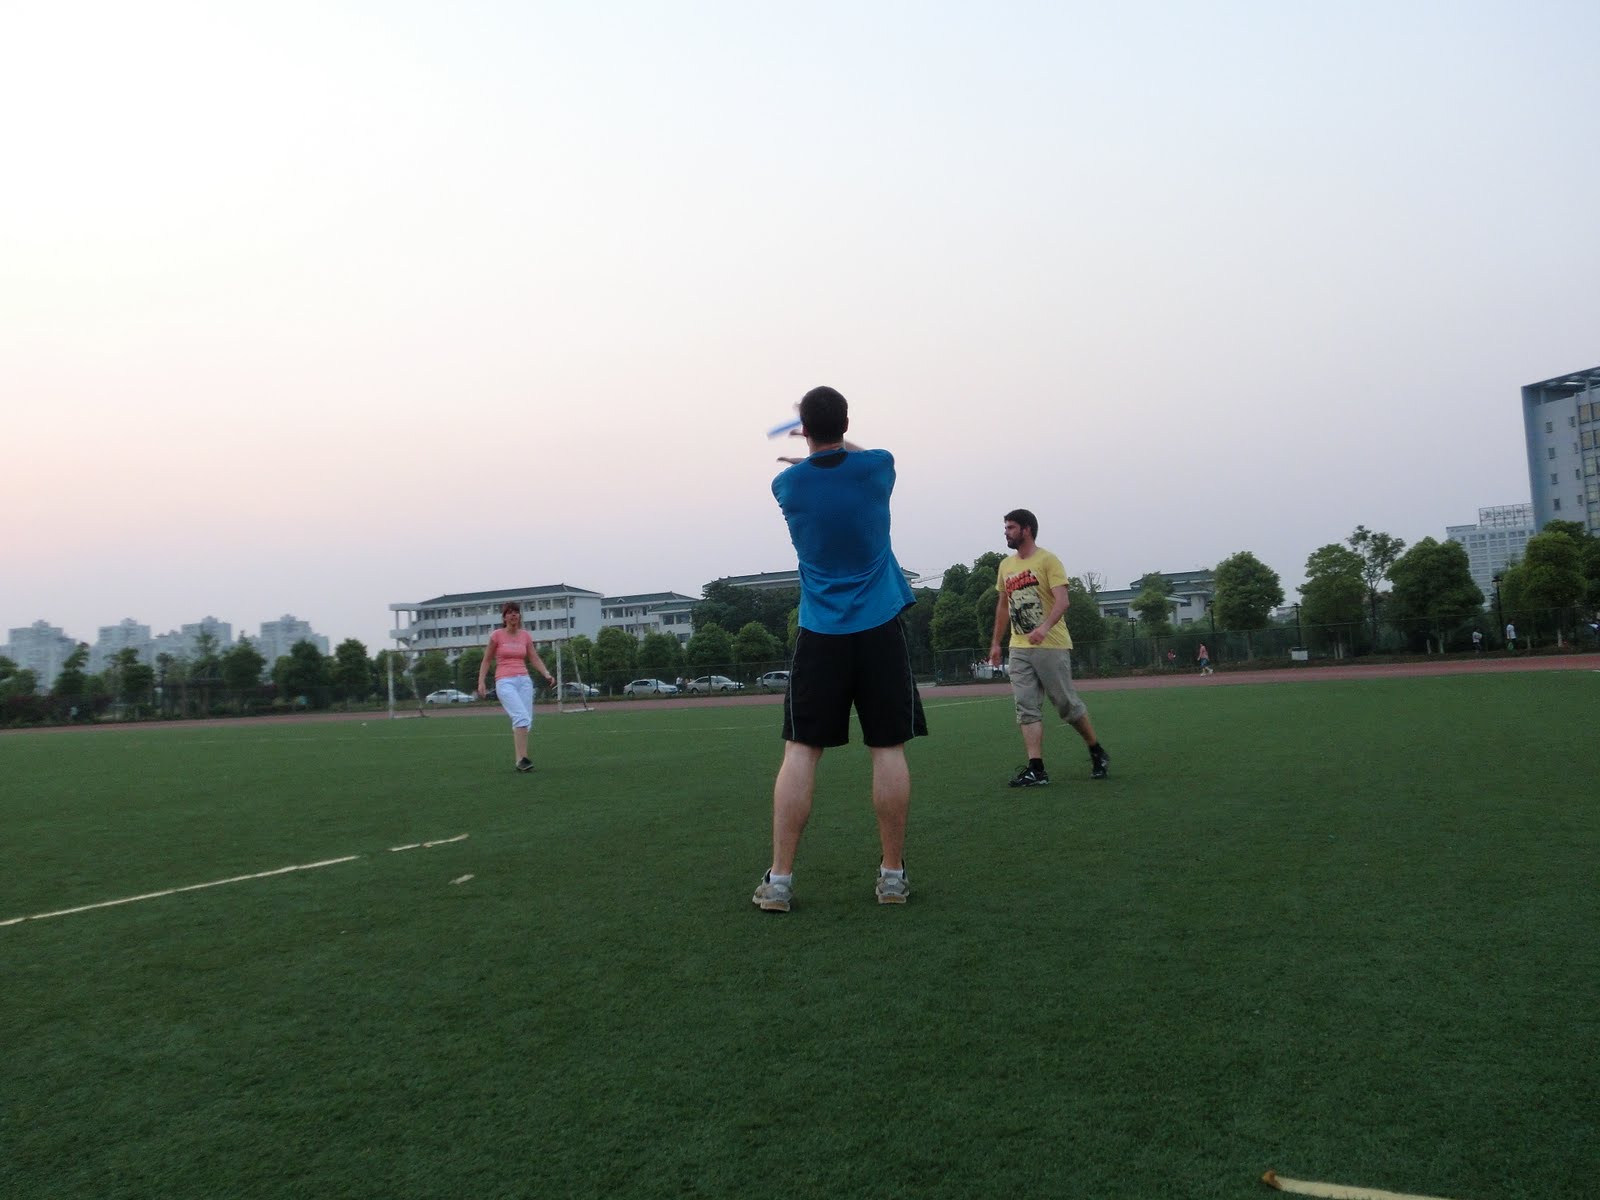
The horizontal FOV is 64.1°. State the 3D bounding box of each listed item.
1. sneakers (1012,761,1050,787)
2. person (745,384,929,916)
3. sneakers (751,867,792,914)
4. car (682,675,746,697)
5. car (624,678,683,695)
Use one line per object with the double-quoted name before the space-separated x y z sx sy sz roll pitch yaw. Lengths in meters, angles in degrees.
"sneakers" 1.434 1.055 7.995 0.225 0.182 0.434 -2 0 9
"person" 0.152 0.155 4.953 0.623 2.030 0.598 -2 0 5
"sneakers" -0.102 1.076 4.768 0.135 0.155 0.214 -2 0 -7
"car" -5.043 5.250 75.138 2.553 0.788 1.564 -2 -3 11
"car" -8.623 5.067 74.134 2.844 0.941 1.566 -4 -2 18
